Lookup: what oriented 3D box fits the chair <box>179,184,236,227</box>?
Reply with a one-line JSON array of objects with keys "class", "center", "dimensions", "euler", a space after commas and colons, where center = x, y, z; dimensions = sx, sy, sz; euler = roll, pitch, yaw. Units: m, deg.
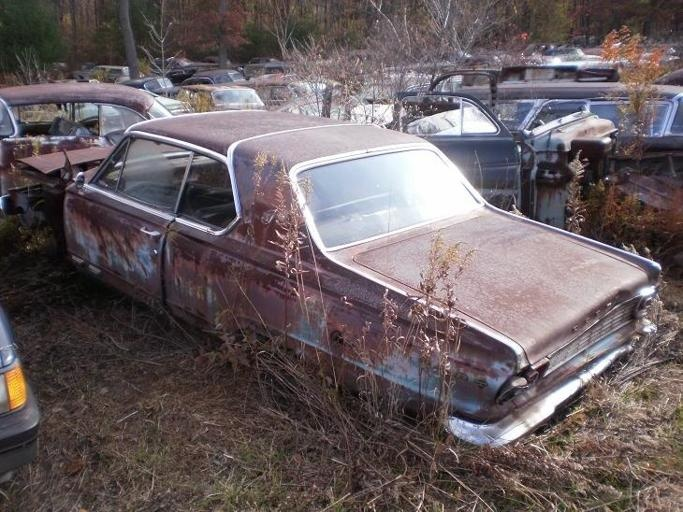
[{"class": "chair", "center": [-1.049, -0.391, 4.198], "dimensions": [0.465, 0.316, 0.134], "euler": [16, -1, 38]}]

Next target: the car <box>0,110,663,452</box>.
[{"class": "car", "center": [0.052, -0.148, 4.290], "dimensions": [4.387, 1.396, 1.917], "euler": [18, 32, 30]}]
